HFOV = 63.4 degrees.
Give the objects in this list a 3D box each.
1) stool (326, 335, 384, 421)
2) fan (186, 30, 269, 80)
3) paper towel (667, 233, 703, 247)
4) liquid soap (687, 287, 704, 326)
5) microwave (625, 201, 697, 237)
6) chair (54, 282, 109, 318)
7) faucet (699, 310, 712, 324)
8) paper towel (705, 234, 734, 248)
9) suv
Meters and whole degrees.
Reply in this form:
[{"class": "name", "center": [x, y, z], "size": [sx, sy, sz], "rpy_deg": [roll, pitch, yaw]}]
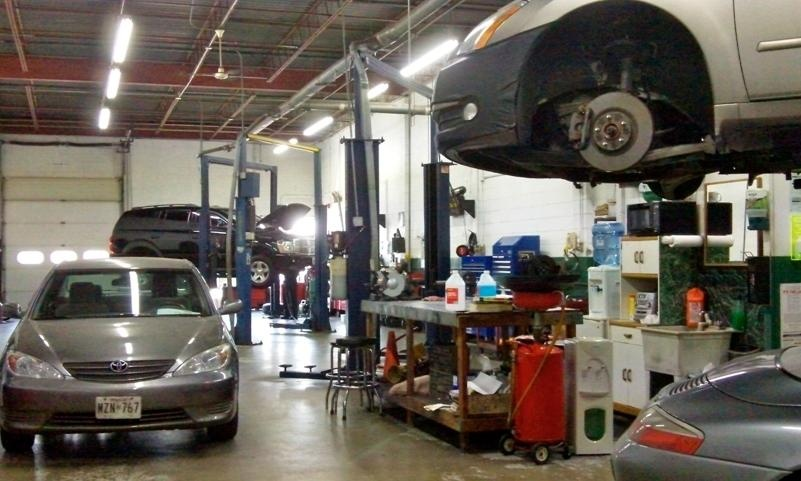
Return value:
[{"class": "stool", "center": [-0.586, 1.538, 7.661], "size": [0.865, 1.044, 0.839], "rpy_deg": [1, -8, -15]}, {"class": "fan", "center": [-3.714, -3.691, 13.775], "size": [1.455, 0.958, 1.386], "rpy_deg": [6, -14, -25]}, {"class": "paper towel", "center": [2.938, 0.013, 6.772], "size": [0.429, 0.115, 0.106], "rpy_deg": [0, 0, -11]}, {"class": "liquid soap", "center": [3.025, 0.688, 6.688], "size": [0.185, 0.387, 0.306], "rpy_deg": [0, 0, 25]}, {"class": "microwave", "center": [2.823, -0.225, 6.992], "size": [0.422, 0.283, 0.564], "rpy_deg": [1, -2, -17]}, {"class": "chair", "center": [-3.072, 0.605, 6.329], "size": [0.603, 0.418, 0.294], "rpy_deg": [1, -14, -11]}, {"class": "faucet", "center": [3.088, 0.784, 6.575], "size": [0.117, 0.100, 0.112], "rpy_deg": [-1, 1, -19]}, {"class": "paper towel", "center": [3.343, 0.009, 6.774], "size": [0.336, 0.123, 0.127], "rpy_deg": [0, 0, -21]}, {"class": "suv", "center": [-4.323, 0.102, 14.834], "size": [4.515, 1.669, 1.929], "rpy_deg": [-1, 0, -2]}]
